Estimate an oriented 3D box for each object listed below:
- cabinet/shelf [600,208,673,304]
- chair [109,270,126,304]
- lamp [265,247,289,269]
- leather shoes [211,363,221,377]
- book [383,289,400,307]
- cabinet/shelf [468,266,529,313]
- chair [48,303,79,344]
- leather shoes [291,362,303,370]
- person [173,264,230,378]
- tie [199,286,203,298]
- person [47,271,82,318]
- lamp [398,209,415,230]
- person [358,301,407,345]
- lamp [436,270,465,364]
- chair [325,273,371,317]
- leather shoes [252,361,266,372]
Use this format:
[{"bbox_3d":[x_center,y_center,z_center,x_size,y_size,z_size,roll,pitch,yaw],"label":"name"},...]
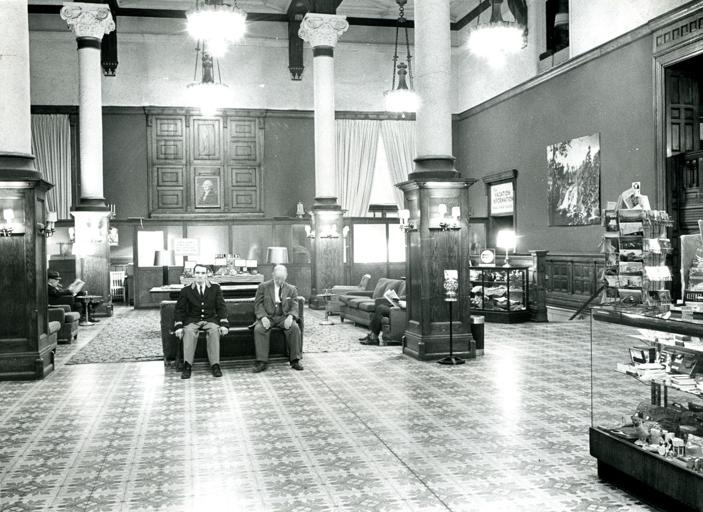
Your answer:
[{"bbox_3d":[2.729,0.004,6.534,0.612,0.910,0.453,2,9,20],"label":"cabinet/shelf"},{"bbox_3d":[-6.712,0.896,19.810,0.443,0.856,0.386,-1,8,-1],"label":"chair"},{"bbox_3d":[-1.550,-0.007,15.138,0.643,0.592,0.650,0,3,-16],"label":"lamp"},{"bbox_3d":[-2.000,1.681,10.085,0.120,0.168,0.394,0,-9,-15],"label":"leather shoes"},{"bbox_3d":[0.720,0.761,11.995,0.274,0.101,0.285,29,-9,33],"label":"book"},{"bbox_3d":[3.235,0.739,15.112,0.904,1.252,1.638,3,-4,-43],"label":"cabinet/shelf"},{"bbox_3d":[-5.292,1.235,12.741,0.620,0.750,0.927,1,2,-5],"label":"chair"},{"bbox_3d":[-0.832,1.675,10.462,0.225,0.088,0.181,1,8,8],"label":"leather shoes"},{"bbox_3d":[-2.269,0.951,10.329,0.795,1.555,0.884,-3,8,-13],"label":"person"},{"bbox_3d":[-2.305,0.541,10.512,0.049,0.211,0.054,0,20,-5],"label":"tie"},{"bbox_3d":[-5.846,0.800,13.952,0.618,1.092,1.081,0,0,-13],"label":"person"},{"bbox_3d":[0.914,-0.608,11.289,0.242,0.328,0.580,0,8,3],"label":"lamp"},{"bbox_3d":[0.583,1.187,12.228,0.806,0.895,0.698,1,-3,4],"label":"person"},{"bbox_3d":[1.579,0.942,10.721,0.411,1.388,0.663,1,8,9],"label":"lamp"},{"bbox_3d":[-0.119,0.935,16.085,1.050,1.190,0.877,1,-2,5],"label":"chair"},{"bbox_3d":[-1.382,1.657,10.325,0.195,0.132,0.207,-1,8,-5],"label":"leather shoes"}]
